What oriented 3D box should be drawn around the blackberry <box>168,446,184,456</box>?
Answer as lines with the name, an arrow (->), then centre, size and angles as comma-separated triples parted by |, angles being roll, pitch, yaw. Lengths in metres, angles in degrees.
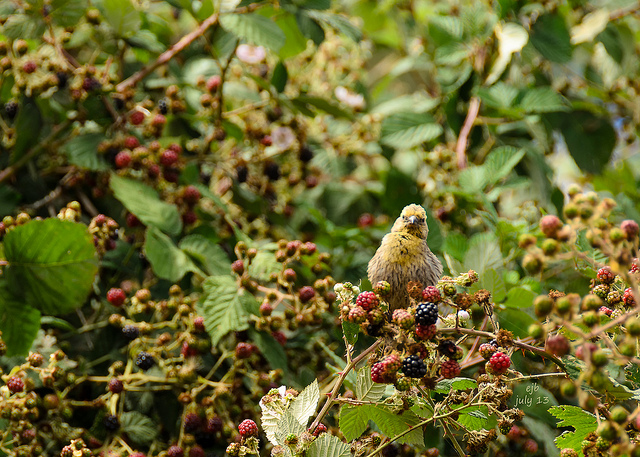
blackberry -> -0.665, 1.041, 3.889 | 0.042, 0.027, 0.042 | -2, 8, -38

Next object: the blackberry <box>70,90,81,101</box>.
blackberry -> -1.176, -0.644, 4.034 | 0.039, 0.038, 0.030 | 15, 40, -12

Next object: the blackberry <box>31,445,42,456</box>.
blackberry -> -1.271, 1.006, 3.766 | 0.034, 0.044, 0.051 | -6, -7, -3

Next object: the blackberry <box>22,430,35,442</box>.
blackberry -> -1.297, 0.931, 3.728 | 0.043, 0.039, 0.035 | -10, -17, 38

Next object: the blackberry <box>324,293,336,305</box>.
blackberry -> 0.043, 0.336, 4.033 | 0.040, 0.036, 0.048 | 5, 22, 2

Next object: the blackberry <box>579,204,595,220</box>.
blackberry -> 1.057, -0.064, 3.329 | 0.044, 0.035, 0.058 | -9, 5, 19

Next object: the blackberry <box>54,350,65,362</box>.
blackberry -> -1.191, 0.591, 3.834 | 0.044, 0.041, 0.056 | -1, 17, -2

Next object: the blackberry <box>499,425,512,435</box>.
blackberry -> 0.784, 0.858, 3.526 | 0.035, 0.030, 0.043 | 2, -14, -9

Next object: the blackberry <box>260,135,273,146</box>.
blackberry -> -0.274, -0.450, 4.282 | 0.052, 0.047, 0.026 | 5, 13, -29

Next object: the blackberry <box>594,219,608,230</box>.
blackberry -> 1.138, -0.012, 3.399 | 0.036, 0.023, 0.041 | 0, 36, 18

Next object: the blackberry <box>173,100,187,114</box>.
blackberry -> -0.710, -0.617, 4.220 | 0.054, 0.029, 0.052 | 1, 71, 0

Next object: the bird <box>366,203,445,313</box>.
bird -> 0.455, 0.192, 4.357 | 0.355, 0.539, 0.515 | 10, -13, 13

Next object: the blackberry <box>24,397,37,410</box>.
blackberry -> -1.279, 0.779, 3.703 | 0.044, 0.045, 0.023 | 41, 10, -17

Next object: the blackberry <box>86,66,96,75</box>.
blackberry -> -1.114, -0.771, 4.071 | 0.034, 0.040, 0.019 | 1, 4, -24

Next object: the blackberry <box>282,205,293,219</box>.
blackberry -> -0.177, -0.093, 4.696 | 0.046, 0.059, 0.031 | -17, 71, -48

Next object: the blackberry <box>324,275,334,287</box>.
blackberry -> 0.043, 0.260, 4.108 | 0.036, 0.028, 0.048 | 36, 0, 27

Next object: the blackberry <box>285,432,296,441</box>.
blackberry -> -0.119, 0.874, 3.472 | 0.041, 0.027, 0.032 | 17, 34, -1

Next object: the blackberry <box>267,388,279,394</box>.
blackberry -> -0.198, 0.702, 3.603 | 0.028, 0.016, 0.029 | 3, -3, -29

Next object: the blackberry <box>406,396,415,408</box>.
blackberry -> 0.382, 0.741, 3.546 | 0.028, 0.034, 0.040 | -3, 69, -6

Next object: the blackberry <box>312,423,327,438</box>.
blackberry -> -0.003, 0.870, 3.562 | 0.029, 0.023, 0.043 | 6, 29, 39

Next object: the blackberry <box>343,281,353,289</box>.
blackberry -> 0.122, 0.250, 3.601 | 0.025, 0.027, 0.016 | 21, 68, -16

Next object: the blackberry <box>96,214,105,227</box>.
blackberry -> -1.008, -0.035, 3.849 | 0.034, 0.046, 0.052 | 12, 34, -6

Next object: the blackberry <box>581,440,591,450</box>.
blackberry -> 1.111, 0.912, 3.498 | 0.034, 0.022, 0.030 | -14, -6, -8

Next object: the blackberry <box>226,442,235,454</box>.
blackberry -> -0.376, 0.927, 3.505 | 0.032, 0.040, 0.021 | 53, 16, 22
